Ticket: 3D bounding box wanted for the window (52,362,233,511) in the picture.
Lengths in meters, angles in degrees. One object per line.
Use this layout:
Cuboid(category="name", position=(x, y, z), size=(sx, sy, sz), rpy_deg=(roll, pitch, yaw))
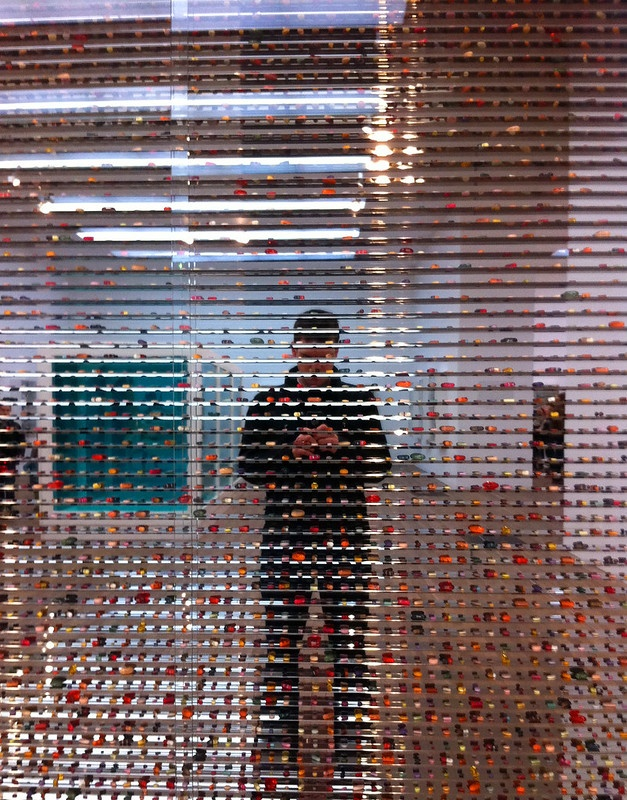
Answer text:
Cuboid(category="window", position=(-0.784, 0.161, 5.325), size=(0.984, 0.083, 0.700), rpy_deg=(0, 92, 20))
